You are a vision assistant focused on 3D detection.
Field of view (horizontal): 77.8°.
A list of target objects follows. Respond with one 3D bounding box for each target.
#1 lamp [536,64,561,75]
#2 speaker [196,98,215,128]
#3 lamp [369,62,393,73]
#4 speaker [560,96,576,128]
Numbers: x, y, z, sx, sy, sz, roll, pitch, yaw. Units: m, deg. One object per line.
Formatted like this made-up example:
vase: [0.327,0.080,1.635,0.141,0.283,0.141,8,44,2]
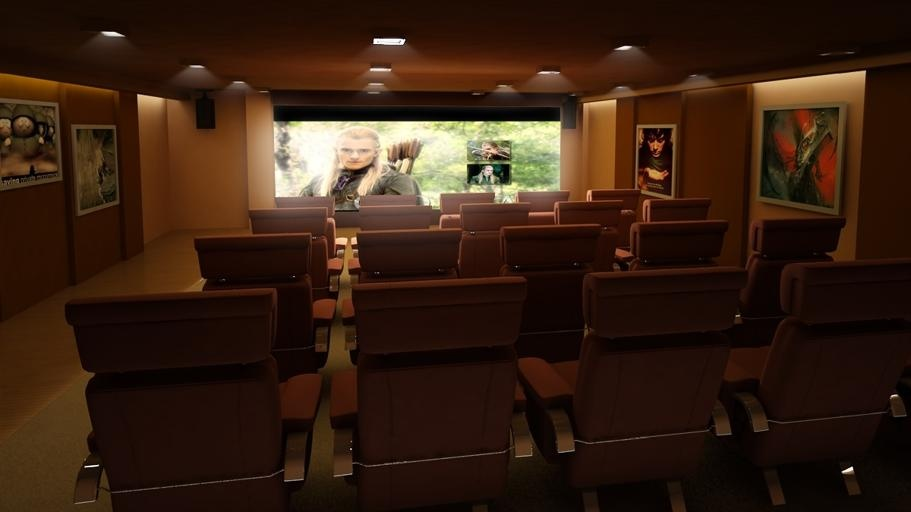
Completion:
lamp: [1.484,-2.917,8.840,0.290,0.061,0.251,0,5,1]
speaker: [-5.754,-3.309,12.991,0.405,0.714,0.321,-6,14,-24]
lamp: [-1.131,-2.843,8.500,0.236,0.054,0.240,0,6,2]
speaker: [2.874,-3.633,14.204,0.364,0.764,0.203,4,13,13]
